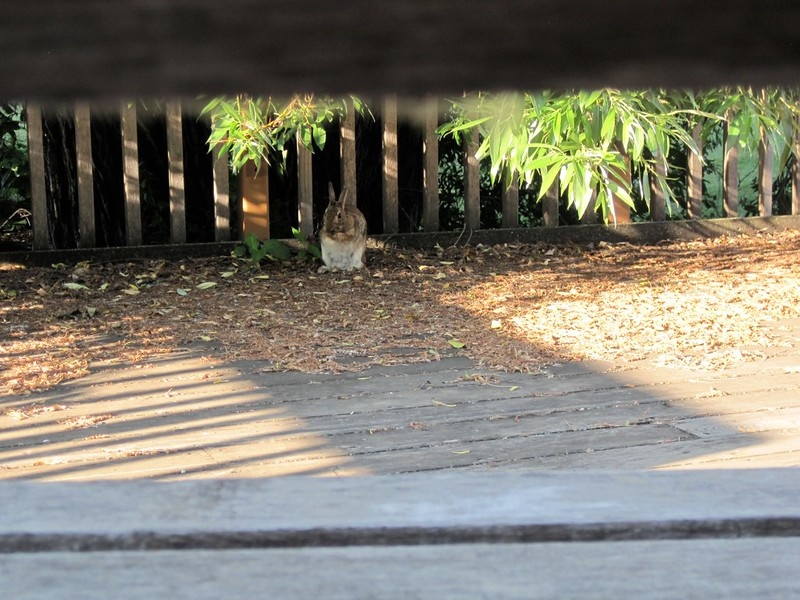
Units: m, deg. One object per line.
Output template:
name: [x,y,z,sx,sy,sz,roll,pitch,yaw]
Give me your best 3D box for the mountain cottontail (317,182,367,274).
mountain cottontail: [-0.292,-0.363,7.079,0.263,0.432,0.486,-1,8,6]
